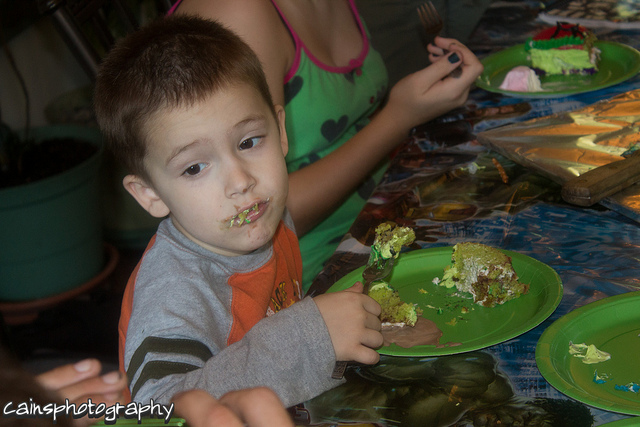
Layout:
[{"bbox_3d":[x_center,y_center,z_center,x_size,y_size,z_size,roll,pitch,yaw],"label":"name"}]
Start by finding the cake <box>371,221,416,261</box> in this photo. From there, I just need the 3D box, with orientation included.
[{"bbox_3d":[0.161,0.058,1.303,0.086,0.026,0.086,28,69,33],"label":"cake"}]

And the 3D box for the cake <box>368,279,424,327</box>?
[{"bbox_3d":[0.164,0.207,1.227,0.073,0.034,0.109,-25,77,-16],"label":"cake"}]

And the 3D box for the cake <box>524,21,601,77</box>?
[{"bbox_3d":[0.809,-0.534,1.895,0.196,0.134,0.199,8,26,29],"label":"cake"}]

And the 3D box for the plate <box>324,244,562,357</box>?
[{"bbox_3d":[0.291,0.200,1.168,0.415,0.414,0.046,10,36,-19],"label":"plate"}]

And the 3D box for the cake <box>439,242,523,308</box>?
[{"bbox_3d":[0.334,0.102,1.257,0.159,0.046,0.173,37,34,11],"label":"cake"}]
